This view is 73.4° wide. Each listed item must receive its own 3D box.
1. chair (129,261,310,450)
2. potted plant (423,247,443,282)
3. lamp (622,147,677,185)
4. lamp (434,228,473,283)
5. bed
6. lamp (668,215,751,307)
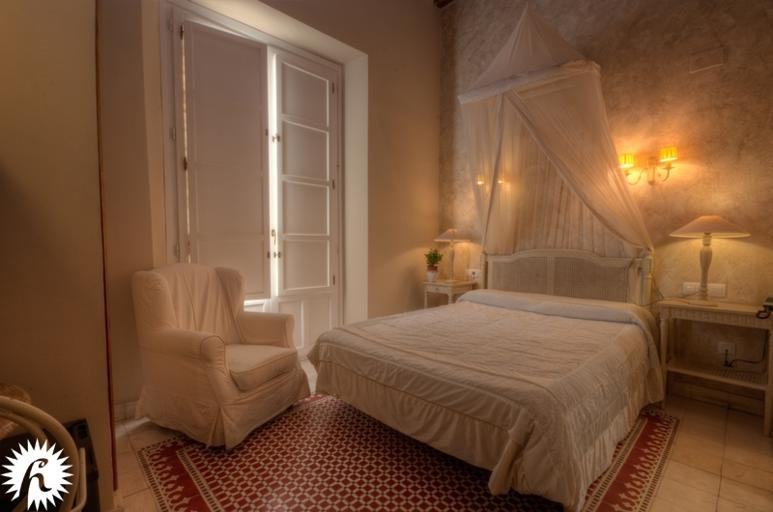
[{"bbox_3d":[-1.372,0.750,4.497,1.252,1.332,1.204,5,7,38],"label":"chair"},{"bbox_3d":[0.583,0.109,6.428,0.246,0.368,0.229,3,0,-21],"label":"potted plant"},{"bbox_3d":[2.589,-0.875,5.139,0.522,0.379,0.231,-5,1,19],"label":"lamp"},{"bbox_3d":[0.807,0.011,6.399,0.376,0.629,0.380,0,-5,2],"label":"lamp"},{"bbox_3d":[1.311,0.847,4.343,2.374,1.204,2.029,-6,8,-42],"label":"bed"},{"bbox_3d":[2.893,0.008,4.691,0.589,0.775,0.606,3,1,44],"label":"lamp"}]
